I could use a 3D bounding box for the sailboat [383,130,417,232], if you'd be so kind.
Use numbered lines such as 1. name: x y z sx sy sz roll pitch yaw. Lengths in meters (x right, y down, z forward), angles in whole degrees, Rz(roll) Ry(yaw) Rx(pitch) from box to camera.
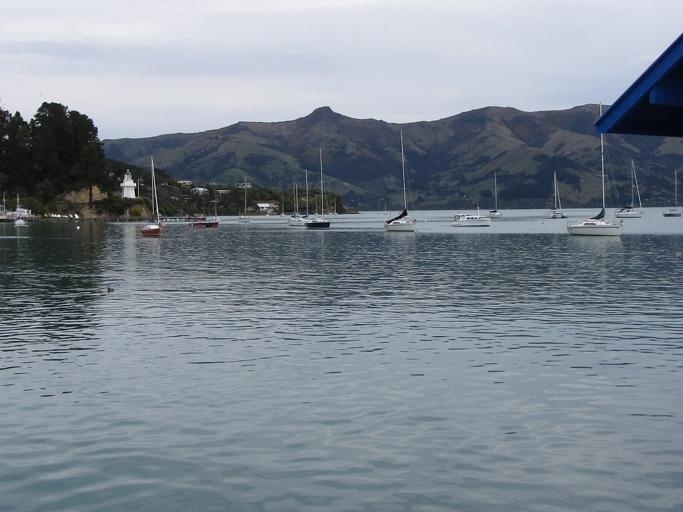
1. sailboat: 10.992 -13.112 158.344 5.420 18.216 12.581 4 6 9

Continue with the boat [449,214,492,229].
1. boat: 25.698 -7.020 183.662 8.951 2.049 3.226 0 3 43

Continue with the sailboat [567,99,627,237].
1. sailboat: 34.516 -12.146 125.857 4.266 19.022 11.274 -9 2 -23
